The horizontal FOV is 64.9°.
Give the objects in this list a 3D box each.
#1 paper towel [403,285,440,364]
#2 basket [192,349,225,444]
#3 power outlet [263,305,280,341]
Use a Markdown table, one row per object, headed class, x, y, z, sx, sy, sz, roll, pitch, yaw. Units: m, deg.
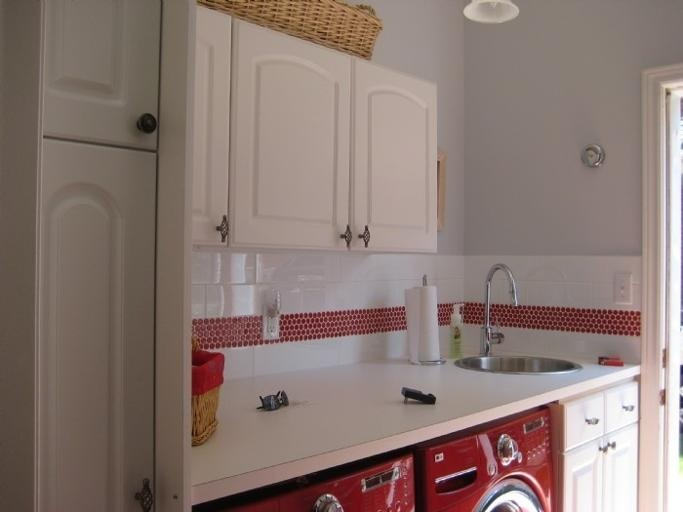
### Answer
| class | x | y | z | sx | sy | sz | roll | pitch | yaw |
| --- | --- | --- | --- | --- | --- | --- | --- | --- | --- |
| paper towel | 0.377 | 0.314 | 2.497 | 0.169 | 0.357 | 0.168 | 1 | 2 | 3 |
| basket | -0.368 | 0.386 | 1.474 | 0.083 | 0.223 | 0.220 | 0 | 2 | -16 |
| power outlet | -0.285 | 0.269 | 2.184 | 0.061 | 0.153 | 0.065 | 1 | 2 | -2 |
